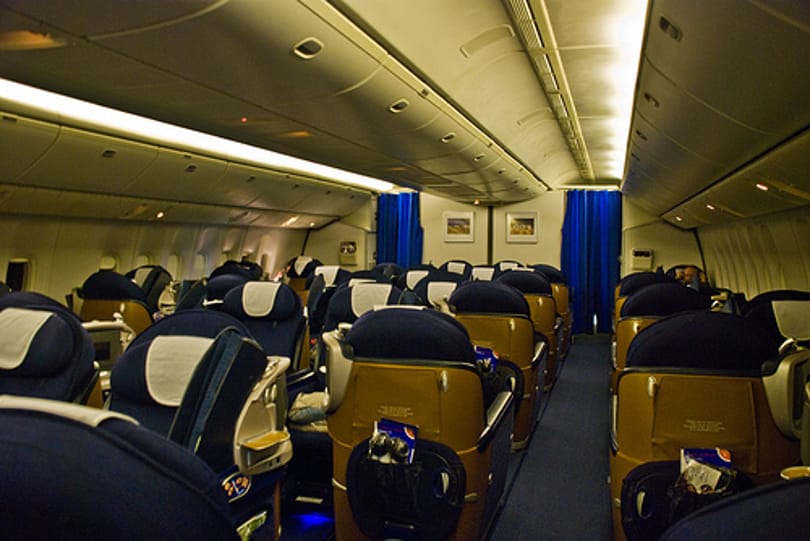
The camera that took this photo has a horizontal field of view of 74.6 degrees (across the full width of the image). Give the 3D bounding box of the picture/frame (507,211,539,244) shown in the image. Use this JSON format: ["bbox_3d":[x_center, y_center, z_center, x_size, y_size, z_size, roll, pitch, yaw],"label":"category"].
[{"bbox_3d":[2.952,-1.073,13.232,0.783,0.834,0.033,1,-1,15],"label":"picture/frame"}]

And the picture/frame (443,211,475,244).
[{"bbox_3d":[1.417,-1.105,13.691,0.790,0.837,0.057,0,-1,16],"label":"picture/frame"}]
